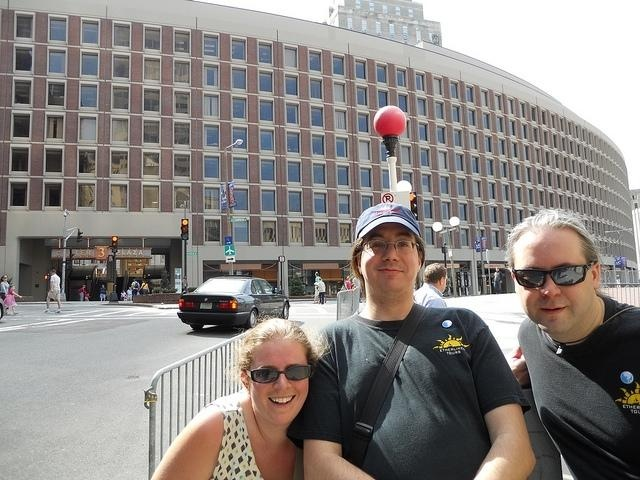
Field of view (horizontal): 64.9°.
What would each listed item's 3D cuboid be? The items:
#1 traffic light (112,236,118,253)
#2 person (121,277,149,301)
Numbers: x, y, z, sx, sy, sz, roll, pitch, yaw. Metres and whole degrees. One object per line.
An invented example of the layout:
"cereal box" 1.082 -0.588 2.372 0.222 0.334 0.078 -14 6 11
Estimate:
"traffic light" -12.547 0.261 30.687 0.285 0.975 0.949 2 -6 -29
"person" -15.124 3.957 40.828 1.176 2.222 0.752 11 -8 -3
